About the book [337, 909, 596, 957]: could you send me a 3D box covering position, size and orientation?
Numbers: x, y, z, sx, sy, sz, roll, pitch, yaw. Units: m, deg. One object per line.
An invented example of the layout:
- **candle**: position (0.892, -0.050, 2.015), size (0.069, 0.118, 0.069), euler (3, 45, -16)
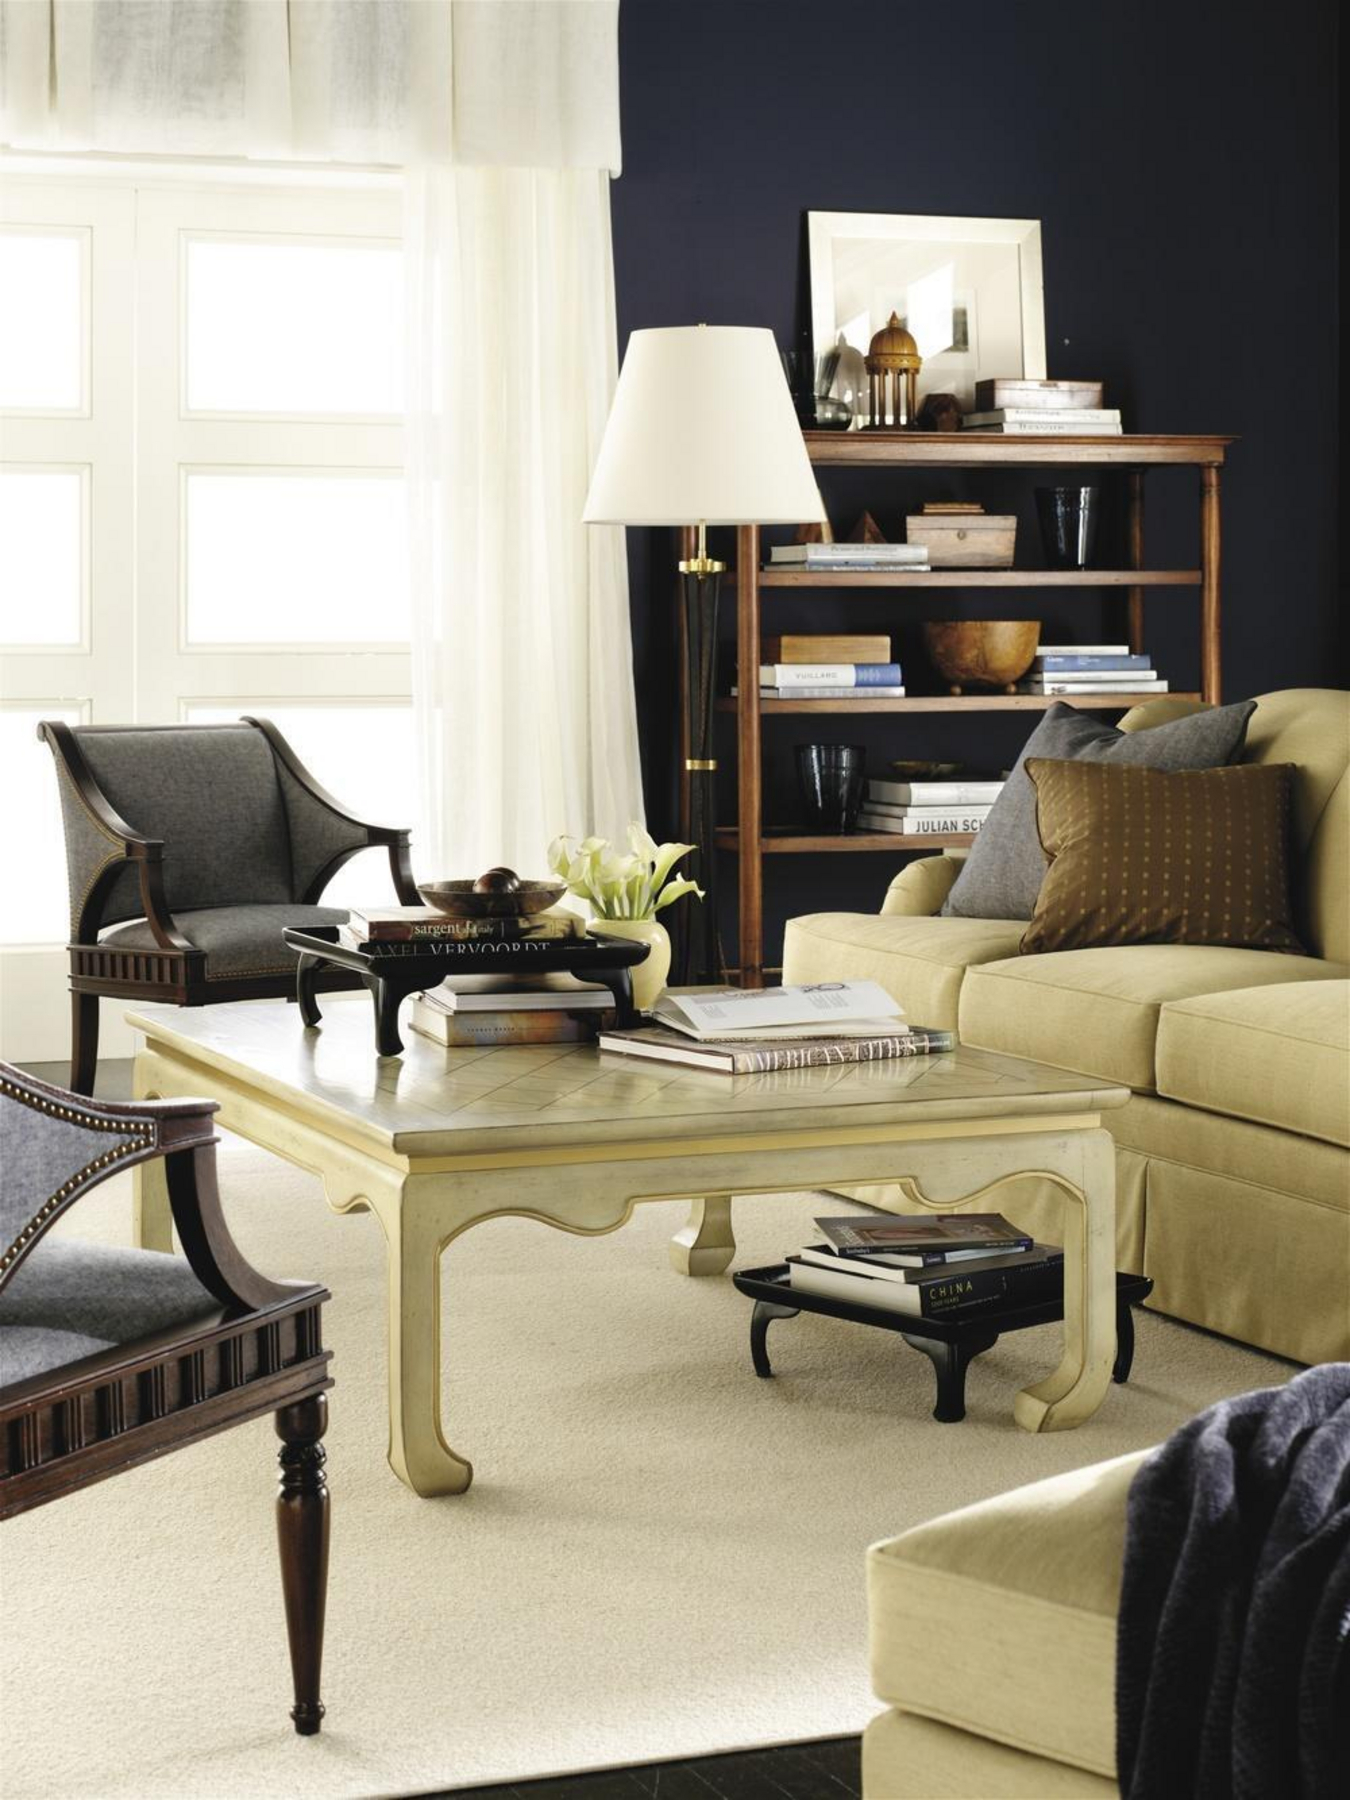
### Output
- **book**: position (-0.281, 0.037, 2.219), size (0.314, 0.047, 0.171), euler (-1, 2, -12)

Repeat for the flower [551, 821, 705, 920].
- **flower**: position (-0.068, -0.040, 2.558), size (0.193, 0.130, 0.263), euler (1, 3, 35)

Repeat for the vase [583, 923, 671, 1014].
- **vase**: position (-0.054, 0.096, 2.400), size (0.118, 0.134, 0.119), euler (0, 0, -15)

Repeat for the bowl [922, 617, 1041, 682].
- **bowl**: position (0.854, -0.675, 4.728), size (0.209, 0.137, 0.210), euler (-1, 1, 0)

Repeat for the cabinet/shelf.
- **cabinet/shelf**: position (0.605, -0.477, 4.122), size (1.494, 1.765, 0.625), euler (-3, 8, -20)
